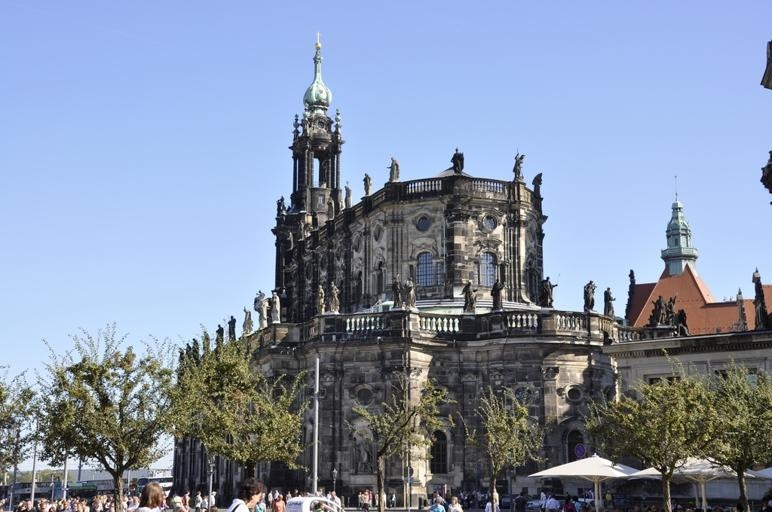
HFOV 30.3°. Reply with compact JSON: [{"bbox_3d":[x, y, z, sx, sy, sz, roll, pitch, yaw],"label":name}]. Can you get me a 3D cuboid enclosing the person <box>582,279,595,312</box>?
[{"bbox_3d":[14.067,2.899,97.652,0.671,2.043,0.475,3,-18,-8],"label":"person"}]
